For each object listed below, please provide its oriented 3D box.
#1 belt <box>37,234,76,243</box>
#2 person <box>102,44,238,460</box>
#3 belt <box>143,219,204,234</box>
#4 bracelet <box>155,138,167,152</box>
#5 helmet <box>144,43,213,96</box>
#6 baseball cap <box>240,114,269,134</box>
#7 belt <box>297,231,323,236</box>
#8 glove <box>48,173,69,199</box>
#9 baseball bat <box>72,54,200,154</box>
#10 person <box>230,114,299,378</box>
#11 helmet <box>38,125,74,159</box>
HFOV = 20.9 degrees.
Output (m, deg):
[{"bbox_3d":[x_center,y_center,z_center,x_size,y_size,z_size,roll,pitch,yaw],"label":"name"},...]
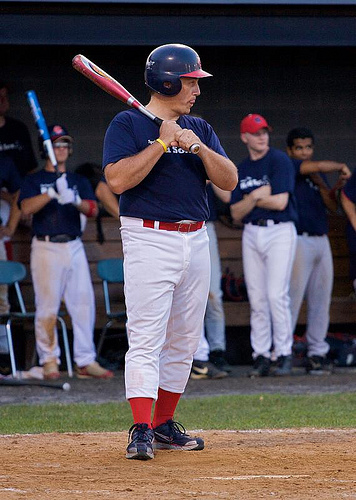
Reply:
[{"bbox_3d":[-0.789,-0.080,6.319,0.246,0.055,0.087,1,-2,-10],"label":"belt"},{"bbox_3d":[-0.052,-0.021,3.851,0.475,1.649,0.495,1,-1,16],"label":"person"},{"bbox_3d":[-0.005,-0.093,3.796,0.273,0.056,0.065,2,-2,-36],"label":"belt"},{"bbox_3d":[-0.063,-0.401,3.680,0.011,0.038,0.039,-40,8,-5],"label":"bracelet"},{"bbox_3d":[-0.012,-0.718,3.841,0.251,0.186,0.189,2,6,21],"label":"helmet"},{"bbox_3d":[0.511,-0.852,6.496,0.140,0.106,0.188,-4,5,-19],"label":"baseball cap"},{"bbox_3d":[0.884,-0.113,6.502,0.173,0.029,0.033,1,-2,-9],"label":"belt"},{"bbox_3d":[-0.731,-0.394,6.207,0.061,0.174,0.131,28,3,-36],"label":"glove"},{"bbox_3d":[-0.193,-0.636,4.054,0.723,0.095,0.089,38,-9,25],"label":"baseball bat"},{"bbox_3d":[0.557,-0.036,6.423,0.320,1.751,0.460,2,-1,-43],"label":"person"},{"bbox_3d":[-0.844,-0.725,6.569,0.162,0.154,0.271,-3,-22,-30],"label":"helmet"}]
